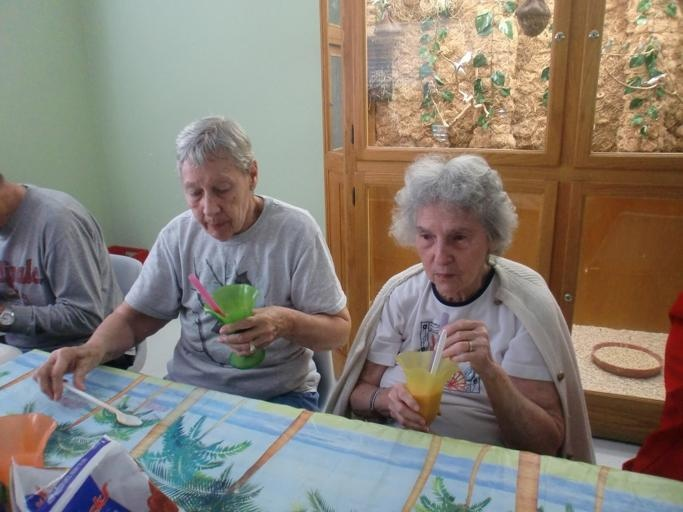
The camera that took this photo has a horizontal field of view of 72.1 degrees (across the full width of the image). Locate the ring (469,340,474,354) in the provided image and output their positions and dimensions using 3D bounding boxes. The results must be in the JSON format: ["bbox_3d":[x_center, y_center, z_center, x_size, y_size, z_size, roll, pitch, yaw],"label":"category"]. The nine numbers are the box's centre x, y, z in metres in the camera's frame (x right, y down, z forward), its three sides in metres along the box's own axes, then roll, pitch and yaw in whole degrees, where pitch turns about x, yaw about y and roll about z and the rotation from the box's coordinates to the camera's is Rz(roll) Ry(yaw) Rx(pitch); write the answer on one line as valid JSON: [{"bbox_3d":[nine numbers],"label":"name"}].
[{"bbox_3d":[0.324,0.223,1.182,0.005,0.022,0.021,4,5,-1],"label":"ring"}]

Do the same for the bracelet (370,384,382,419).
[{"bbox_3d":[0.107,0.430,1.384,0.049,0.070,0.023,6,-5,-38],"label":"bracelet"}]
